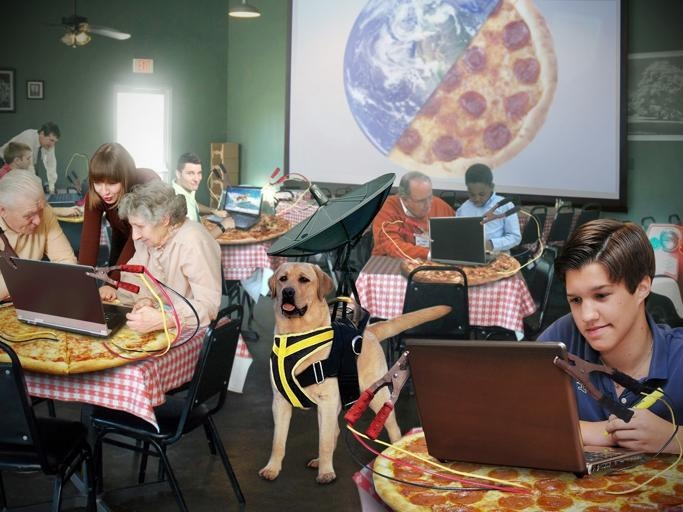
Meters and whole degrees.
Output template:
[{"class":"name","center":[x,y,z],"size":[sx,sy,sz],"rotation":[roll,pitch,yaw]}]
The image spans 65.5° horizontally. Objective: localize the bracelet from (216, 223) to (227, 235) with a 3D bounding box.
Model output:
[{"class":"bracelet","center":[-1.033,-0.231,4.517],"size":[0.021,0.073,0.078],"rotation":[-37,-13,-8]}]

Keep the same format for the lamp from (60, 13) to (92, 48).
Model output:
[{"class":"lamp","center":[-3.093,-2.630,6.147],"size":[0.284,0.349,0.367],"rotation":[-4,12,-24]}]

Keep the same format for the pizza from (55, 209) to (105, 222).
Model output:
[{"class":"pizza","center":[-2.087,-0.314,4.163],"size":[0.286,0.063,0.280],"rotation":[0,13,-5]}]

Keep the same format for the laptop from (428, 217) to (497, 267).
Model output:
[{"class":"laptop","center":[0.819,-0.180,3.639],"size":[0.418,0.313,0.336],"rotation":[7,17,31]}]

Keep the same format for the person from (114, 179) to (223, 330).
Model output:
[{"class":"person","center":[-0.835,0.043,2.509],"size":[0.526,0.760,0.443],"rotation":[0,14,-7]}]

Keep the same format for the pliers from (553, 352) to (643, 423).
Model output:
[{"class":"pliers","center":[0.554,0.285,1.140],"size":[0.193,0.146,0.059],"rotation":[0,11,-7]}]

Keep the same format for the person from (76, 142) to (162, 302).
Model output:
[{"class":"person","center":[-1.288,-0.203,3.197],"size":[0.447,1.001,0.477],"rotation":[0,13,-15]}]

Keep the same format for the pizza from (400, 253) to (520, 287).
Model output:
[{"class":"pizza","center":[0.785,0.056,3.443],"size":[0.762,0.157,0.642],"rotation":[4,9,18]}]

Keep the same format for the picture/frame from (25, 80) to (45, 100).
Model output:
[{"class":"picture/frame","center":[-4.657,-2.502,7.972],"size":[0.332,0.359,0.028],"rotation":[-1,2,-15]}]

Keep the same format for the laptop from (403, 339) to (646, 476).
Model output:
[{"class":"laptop","center":[0.407,0.298,1.324],"size":[0.383,0.299,0.399],"rotation":[-2,3,31]}]
